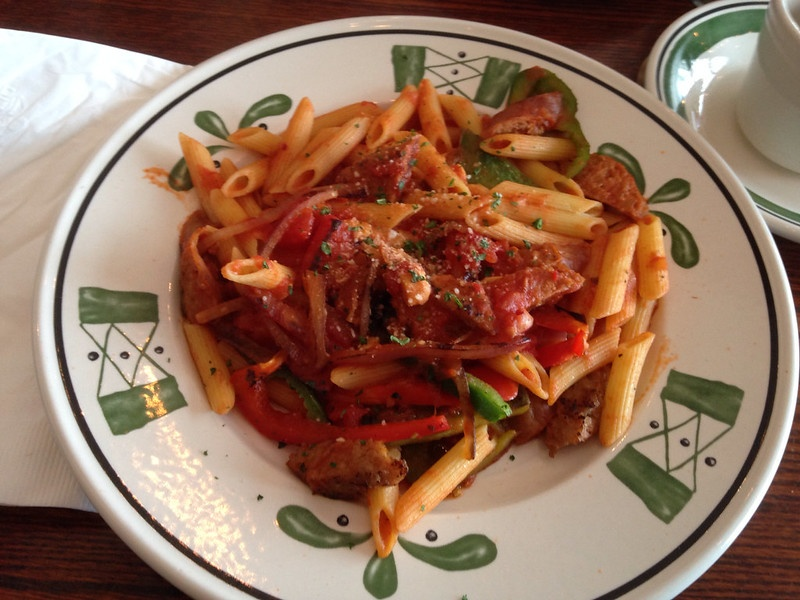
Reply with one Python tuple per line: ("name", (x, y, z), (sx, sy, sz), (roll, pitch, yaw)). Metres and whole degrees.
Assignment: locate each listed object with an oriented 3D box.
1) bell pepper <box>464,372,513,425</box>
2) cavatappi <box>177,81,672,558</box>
("bell pepper", (0.382, 0.437, 3.285), (0.143, 0.262, 0.140), (-37, -5, -2))
("cavatappi", (-0.014, -0.077, 4.211), (3.089, 2.039, 2.405), (-14, 34, -31))
